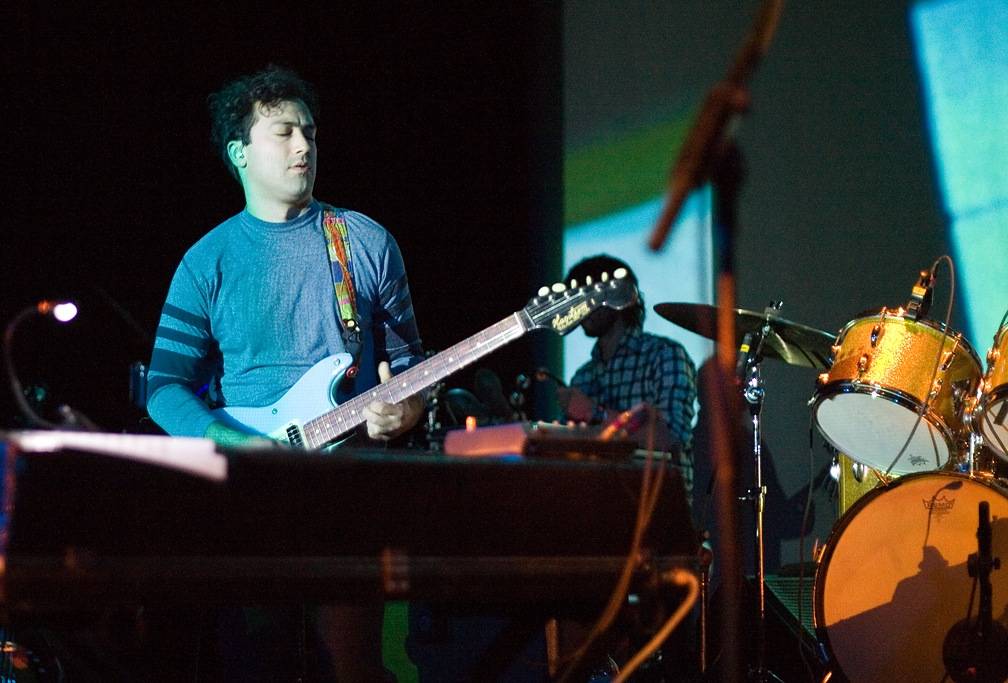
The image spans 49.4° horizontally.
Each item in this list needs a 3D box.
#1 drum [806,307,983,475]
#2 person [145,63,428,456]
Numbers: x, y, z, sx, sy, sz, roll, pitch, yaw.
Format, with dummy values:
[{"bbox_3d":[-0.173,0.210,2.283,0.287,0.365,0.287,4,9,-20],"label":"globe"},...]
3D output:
[{"bbox_3d":[1.571,0.234,4.525,0.619,0.673,0.470,1,45,35],"label":"drum"},{"bbox_3d":[-0.799,-0.282,4.097,0.992,1.467,0.828,-4,7,-22],"label":"person"}]
